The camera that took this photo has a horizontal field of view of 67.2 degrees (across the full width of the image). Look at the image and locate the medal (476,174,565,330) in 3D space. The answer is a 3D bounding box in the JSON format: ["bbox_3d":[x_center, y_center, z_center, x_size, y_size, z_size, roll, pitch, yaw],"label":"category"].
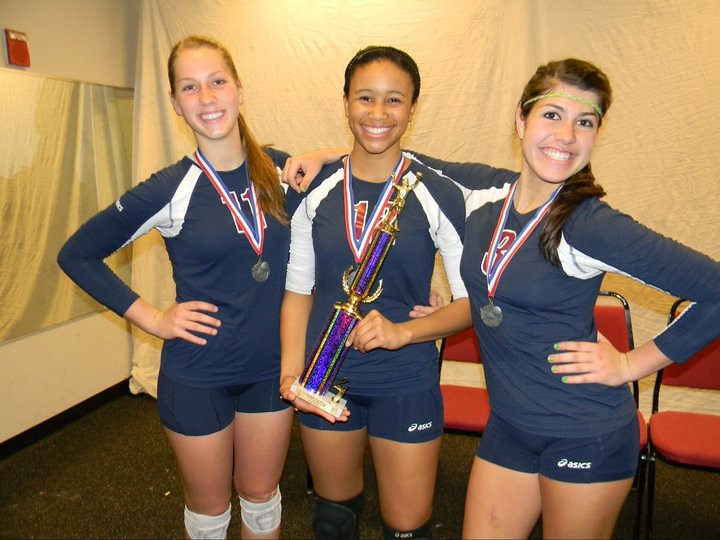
[{"bbox_3d":[0.564,-0.092,2.020,0.194,0.623,0.030,18,-17,27],"label":"medal"}]

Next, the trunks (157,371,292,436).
[{"bbox_3d":[-0.566,0.416,2.153,0.448,0.300,0.232,-4,19,-24],"label":"trunks"}]

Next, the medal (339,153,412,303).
[{"bbox_3d":[0.025,-0.172,2.124,0.204,0.591,0.099,9,-5,5],"label":"medal"}]

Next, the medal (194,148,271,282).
[{"bbox_3d":[-0.458,-0.208,2.069,0.203,0.586,0.098,-21,1,-8],"label":"medal"}]
